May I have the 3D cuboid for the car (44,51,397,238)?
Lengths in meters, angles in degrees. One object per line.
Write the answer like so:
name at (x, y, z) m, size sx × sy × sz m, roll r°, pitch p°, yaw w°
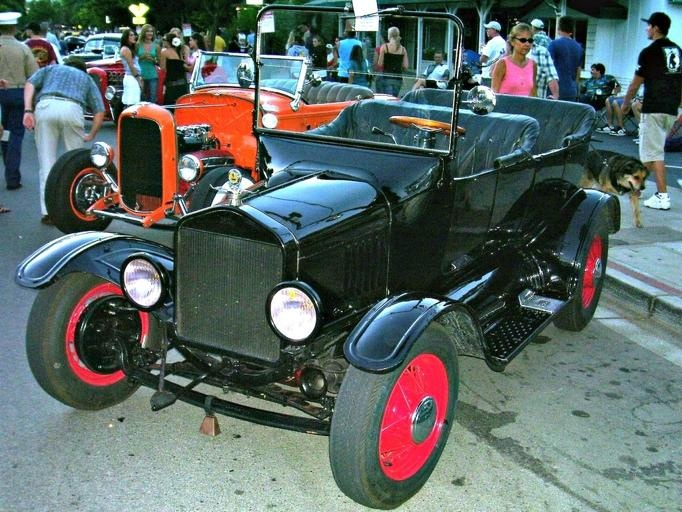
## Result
car at (-1.364, -1.379, 7.628) m, size 2.124 × 1.853 × 3.986 m, roll 15°, pitch 24°, yaw 37°

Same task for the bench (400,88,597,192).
bench at (1.561, -1.275, 5.952) m, size 1.701 × 0.787 × 0.759 m, roll -7°, pitch 3°, yaw 31°

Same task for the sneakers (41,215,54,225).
sneakers at (-3.684, -0.440, 7.353) m, size 0.147 × 0.102 × 0.239 m, roll -1°, pitch 21°, yaw -24°

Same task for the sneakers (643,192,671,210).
sneakers at (4.430, -0.759, 8.071) m, size 0.170 × 0.240 × 0.472 m, roll -9°, pitch 15°, yaw -23°

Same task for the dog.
dog at (3.525, -0.959, 7.796) m, size 0.485 × 0.938 × 1.464 m, roll -6°, pitch 20°, yaw -6°

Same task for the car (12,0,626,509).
car at (0.263, -0.110, 5.026) m, size 2.765 × 2.826 × 4.966 m, roll 9°, pitch 17°, yaw 31°
